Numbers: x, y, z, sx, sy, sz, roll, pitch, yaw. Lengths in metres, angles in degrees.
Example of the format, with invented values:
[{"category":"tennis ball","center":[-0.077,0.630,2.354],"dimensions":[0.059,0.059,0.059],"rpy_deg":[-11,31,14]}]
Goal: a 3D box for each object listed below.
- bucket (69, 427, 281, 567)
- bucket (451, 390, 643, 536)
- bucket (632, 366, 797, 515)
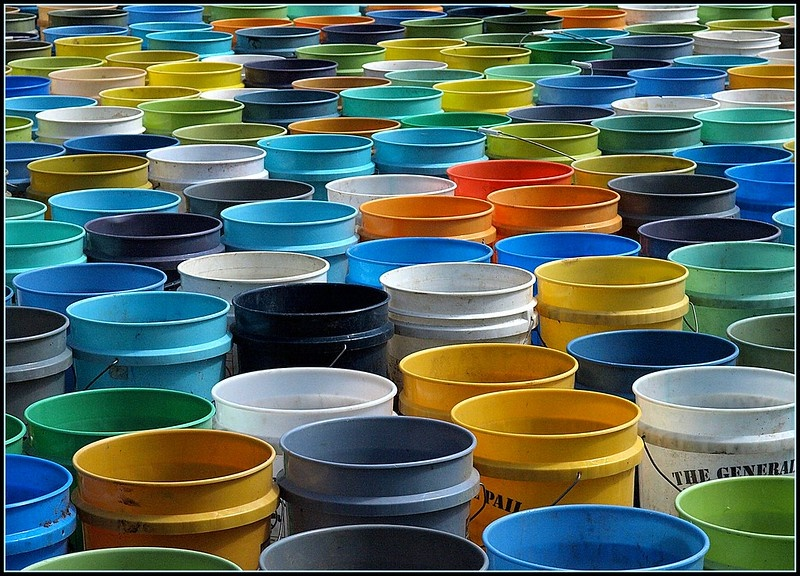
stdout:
[{"category":"bucket","center":[-0.905,0.806,4.293],"dimensions":[0.772,0.387,0.635],"rpy_deg":[10,9,6]},{"category":"bucket","center":[0.683,0.913,4.743],"dimensions":[0.814,0.518,0.722],"rpy_deg":[0,1,-1]},{"category":"bucket","center":[1.353,0.651,4.988],"dimensions":[0.849,0.696,0.725],"rpy_deg":[-4,17,2]}]
